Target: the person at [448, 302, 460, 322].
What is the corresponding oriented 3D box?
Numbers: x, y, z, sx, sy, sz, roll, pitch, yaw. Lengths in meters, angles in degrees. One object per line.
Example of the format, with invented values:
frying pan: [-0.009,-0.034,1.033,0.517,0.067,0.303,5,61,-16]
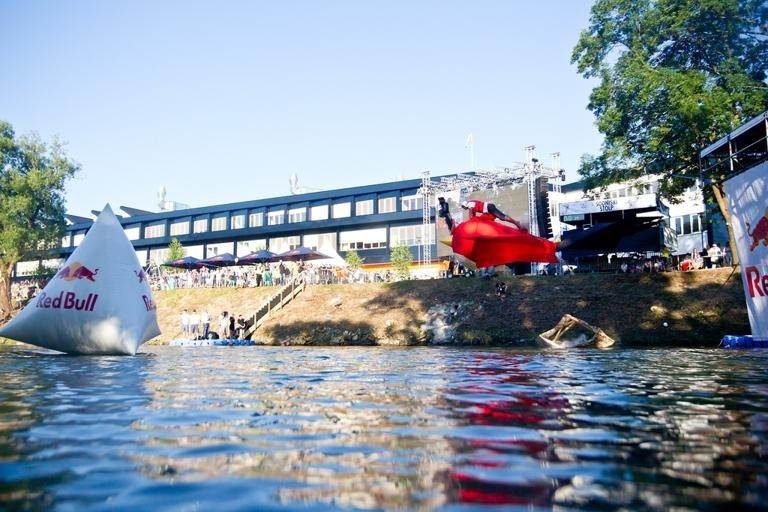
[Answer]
person: [3.802,3.064,30.190,0.685,1.009,1.508,-4,-7,13]
